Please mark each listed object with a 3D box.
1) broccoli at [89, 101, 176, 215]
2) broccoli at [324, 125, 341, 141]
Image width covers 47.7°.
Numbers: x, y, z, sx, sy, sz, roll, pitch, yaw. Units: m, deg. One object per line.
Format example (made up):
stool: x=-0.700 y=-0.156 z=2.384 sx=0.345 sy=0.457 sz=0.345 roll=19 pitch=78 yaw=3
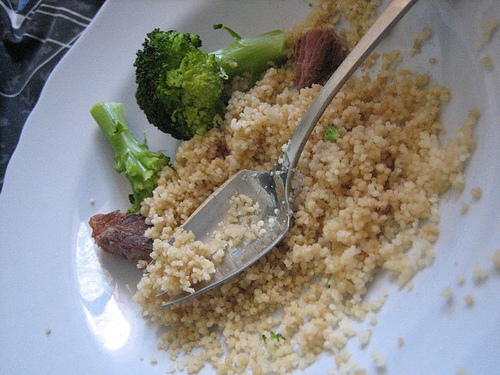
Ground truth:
broccoli: x=-0.488 y=-0.166 z=2.496 sx=0.278 sy=0.156 sz=0.557 roll=-29 pitch=82 yaw=11
broccoli: x=0.323 y=-0.214 z=2.226 sx=0.042 sy=0.019 sz=0.060 roll=-5 pitch=62 yaw=8
